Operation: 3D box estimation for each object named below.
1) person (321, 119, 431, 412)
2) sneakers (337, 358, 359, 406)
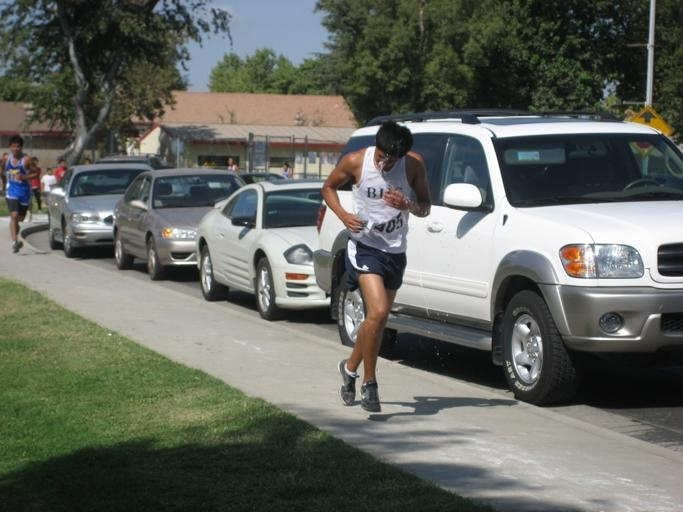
[{"bbox_3d":[0.258,0.093,6.197,0.814,2.287,0.580,2,3,6],"label":"person"},{"bbox_3d":[0.063,1.012,6.431,0.116,0.382,0.173,4,-28,-32],"label":"sneakers"}]
